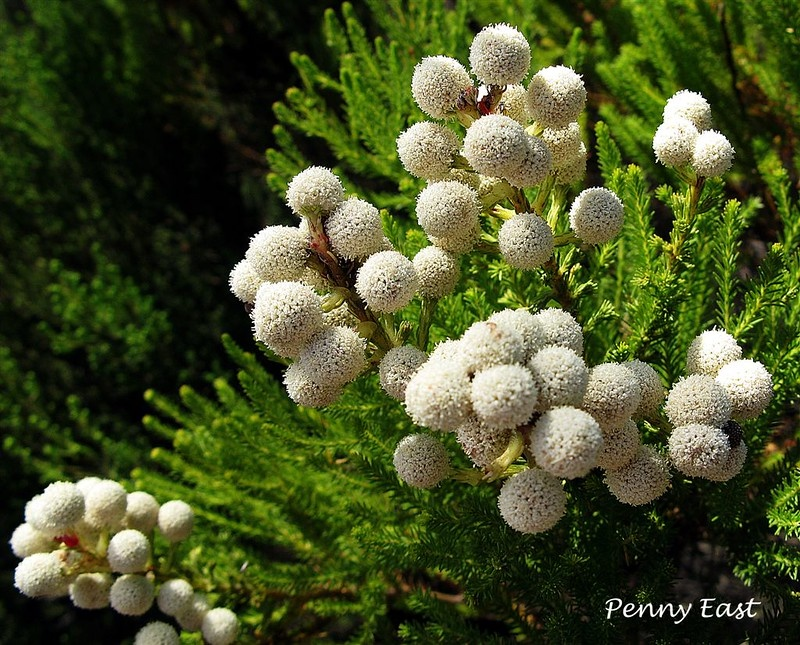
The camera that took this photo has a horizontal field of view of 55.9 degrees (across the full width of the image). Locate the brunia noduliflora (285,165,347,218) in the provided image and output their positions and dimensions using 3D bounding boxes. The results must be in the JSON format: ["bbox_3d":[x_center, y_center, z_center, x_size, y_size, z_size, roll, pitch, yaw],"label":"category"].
[{"bbox_3d":[-0.179,-0.266,1.577,0.090,0.103,0.111,-4,93,-8],"label":"brunia noduliflora"}]

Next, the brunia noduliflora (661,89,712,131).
[{"bbox_3d":[0.671,-0.502,1.744,0.092,0.097,0.098,24,97,2],"label":"brunia noduliflora"}]

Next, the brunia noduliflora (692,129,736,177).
[{"bbox_3d":[0.688,-0.371,1.662,0.084,0.092,0.099,1,99,1],"label":"brunia noduliflora"}]

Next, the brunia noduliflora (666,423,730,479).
[{"bbox_3d":[0.618,0.264,1.554,0.097,0.111,0.078,4,81,-13],"label":"brunia noduliflora"}]

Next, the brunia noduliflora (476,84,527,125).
[{"bbox_3d":[0.238,-0.482,1.706,0.074,0.096,0.097,0,96,7],"label":"brunia noduliflora"}]

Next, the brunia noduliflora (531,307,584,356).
[{"bbox_3d":[0.336,0.015,1.584,0.076,0.093,0.098,-3,98,2],"label":"brunia noduliflora"}]

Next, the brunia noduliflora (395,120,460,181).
[{"bbox_3d":[0.063,-0.377,1.704,0.103,0.125,0.123,-1,80,15],"label":"brunia noduliflora"}]

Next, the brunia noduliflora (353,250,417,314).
[{"bbox_3d":[-0.025,-0.086,1.614,0.103,0.121,0.130,-2,82,4],"label":"brunia noduliflora"}]

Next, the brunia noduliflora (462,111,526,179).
[{"bbox_3d":[0.232,-0.359,1.591,0.087,0.085,0.097,-5,79,33],"label":"brunia noduliflora"}]

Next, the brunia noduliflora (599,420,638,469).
[{"bbox_3d":[0.453,0.256,1.602,0.077,0.097,0.102,-3,89,4],"label":"brunia noduliflora"}]

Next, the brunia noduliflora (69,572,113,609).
[{"bbox_3d":[-0.749,0.659,1.852,0.084,0.094,0.102,-2,91,1],"label":"brunia noduliflora"}]

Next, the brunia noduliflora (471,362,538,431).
[{"bbox_3d":[0.201,0.142,1.457,0.104,0.122,0.123,-1,87,-2],"label":"brunia noduliflora"}]

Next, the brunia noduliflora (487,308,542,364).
[{"bbox_3d":[0.239,0.025,1.572,0.088,0.103,0.108,-4,94,-1],"label":"brunia noduliflora"}]

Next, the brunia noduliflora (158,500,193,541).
[{"bbox_3d":[-0.562,0.493,1.877,0.072,0.095,0.088,-1,90,0],"label":"brunia noduliflora"}]

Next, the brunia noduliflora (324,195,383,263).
[{"bbox_3d":[-0.094,-0.195,1.575,0.102,0.119,0.120,0,89,2],"label":"brunia noduliflora"}]

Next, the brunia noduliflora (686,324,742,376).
[{"bbox_3d":[0.690,0.063,1.655,0.085,0.105,0.107,-8,48,17],"label":"brunia noduliflora"}]

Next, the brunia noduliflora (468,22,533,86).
[{"bbox_3d":[0.230,-0.592,1.648,0.119,0.111,0.120,2,102,32],"label":"brunia noduliflora"}]

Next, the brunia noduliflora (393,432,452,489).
[{"bbox_3d":[0.049,0.288,1.588,0.095,0.113,0.122,0,84,6],"label":"brunia noduliflora"}]

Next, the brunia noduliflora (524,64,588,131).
[{"bbox_3d":[0.339,-0.505,1.656,0.095,0.113,0.119,6,124,24],"label":"brunia noduliflora"}]

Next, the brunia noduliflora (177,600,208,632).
[{"bbox_3d":[-0.507,0.717,1.880,0.065,0.075,0.080,0,96,6],"label":"brunia noduliflora"}]

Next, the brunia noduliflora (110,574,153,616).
[{"bbox_3d":[-0.645,0.651,1.811,0.089,0.097,0.105,-3,93,5],"label":"brunia noduliflora"}]

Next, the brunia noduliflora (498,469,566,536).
[{"bbox_3d":[0.268,0.360,1.578,0.122,0.117,0.122,-9,115,-10],"label":"brunia noduliflora"}]

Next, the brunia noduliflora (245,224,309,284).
[{"bbox_3d":[-0.257,-0.137,1.563,0.100,0.117,0.123,-1,90,-8],"label":"brunia noduliflora"}]

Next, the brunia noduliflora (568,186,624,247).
[{"bbox_3d":[0.431,-0.230,1.672,0.107,0.116,0.125,0,91,3],"label":"brunia noduliflora"}]

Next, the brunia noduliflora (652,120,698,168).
[{"bbox_3d":[0.612,-0.398,1.669,0.087,0.099,0.107,-2,98,5],"label":"brunia noduliflora"}]

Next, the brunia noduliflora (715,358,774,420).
[{"bbox_3d":[0.736,0.139,1.659,0.105,0.123,0.133,0,65,2],"label":"brunia noduliflora"}]

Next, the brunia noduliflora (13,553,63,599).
[{"bbox_3d":[-0.844,0.594,1.767,0.105,0.090,0.102,4,56,1],"label":"brunia noduliflora"}]

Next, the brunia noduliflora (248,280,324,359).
[{"bbox_3d":[-0.226,-0.010,1.527,0.118,0.143,0.154,0,87,3],"label":"brunia noduliflora"}]

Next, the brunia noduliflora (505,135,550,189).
[{"bbox_3d":[0.282,-0.340,1.637,0.089,0.103,0.105,2,51,14],"label":"brunia noduliflora"}]

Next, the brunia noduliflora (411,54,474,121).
[{"bbox_3d":[0.089,-0.515,1.651,0.107,0.131,0.134,2,97,2],"label":"brunia noduliflora"}]

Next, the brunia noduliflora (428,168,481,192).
[{"bbox_3d":[0.135,-0.318,1.695,0.067,0.059,0.037,-3,93,-10],"label":"brunia noduliflora"}]

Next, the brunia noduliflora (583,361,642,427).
[{"bbox_3d":[0.431,0.146,1.527,0.095,0.120,0.129,2,82,3],"label":"brunia noduliflora"}]

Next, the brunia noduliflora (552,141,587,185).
[{"bbox_3d":[0.387,-0.365,1.752,0.071,0.088,0.095,-1,85,4],"label":"brunia noduliflora"}]

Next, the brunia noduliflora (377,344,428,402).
[{"bbox_3d":[0.006,0.105,1.537,0.087,0.099,0.108,-2,81,4],"label":"brunia noduliflora"}]

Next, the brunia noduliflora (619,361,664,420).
[{"bbox_3d":[0.532,0.147,1.659,0.088,0.108,0.116,-7,97,3],"label":"brunia noduliflora"}]

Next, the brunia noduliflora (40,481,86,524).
[{"bbox_3d":[-0.786,0.423,1.756,0.084,0.096,0.085,-2,49,10],"label":"brunia noduliflora"}]

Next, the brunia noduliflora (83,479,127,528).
[{"bbox_3d":[-0.707,0.437,1.802,0.093,0.105,0.120,1,89,2],"label":"brunia noduliflora"}]

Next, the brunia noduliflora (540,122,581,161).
[{"bbox_3d":[0.373,-0.413,1.752,0.072,0.089,0.095,-6,98,10],"label":"brunia noduliflora"}]

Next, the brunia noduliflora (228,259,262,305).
[{"bbox_3d":[-0.335,-0.092,1.669,0.074,0.089,0.090,-2,90,2],"label":"brunia noduliflora"}]

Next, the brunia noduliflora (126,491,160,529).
[{"bbox_3d":[-0.638,0.457,1.861,0.063,0.084,0.078,-4,90,-2],"label":"brunia noduliflora"}]

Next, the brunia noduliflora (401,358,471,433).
[{"bbox_3d":[0.077,0.142,1.498,0.129,0.076,0.136,-1,64,13],"label":"brunia noduliflora"}]

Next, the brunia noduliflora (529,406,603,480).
[{"bbox_3d":[0.321,0.230,1.469,0.114,0.135,0.146,-1,86,3],"label":"brunia noduliflora"}]

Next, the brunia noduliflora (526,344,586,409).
[{"bbox_3d":[0.305,0.110,1.497,0.098,0.114,0.123,-1,84,0],"label":"brunia noduliflora"}]
